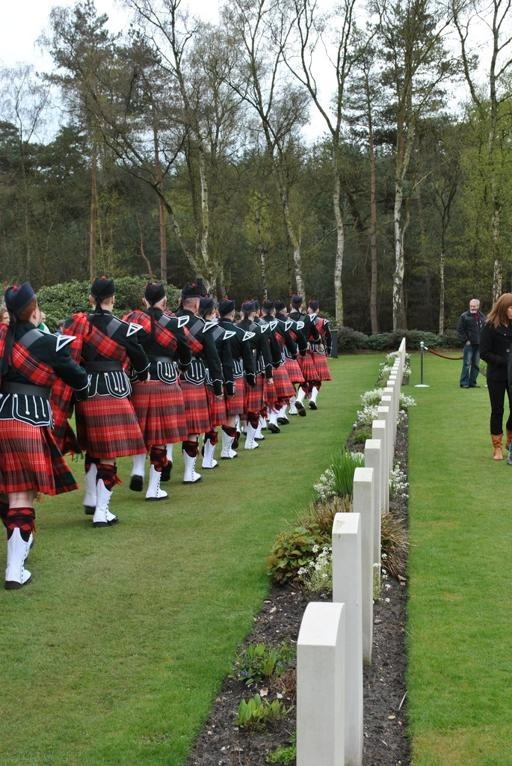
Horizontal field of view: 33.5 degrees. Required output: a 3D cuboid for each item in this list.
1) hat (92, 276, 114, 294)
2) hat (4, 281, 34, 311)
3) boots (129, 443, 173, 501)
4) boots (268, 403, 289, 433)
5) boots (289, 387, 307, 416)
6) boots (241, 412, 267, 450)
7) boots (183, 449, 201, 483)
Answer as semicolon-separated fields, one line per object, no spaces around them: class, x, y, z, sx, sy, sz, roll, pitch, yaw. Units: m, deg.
hat;-1.153;-0.746;6.481;0.119;0.141;0.160;1;16;3
hat;-1.429;-0.522;5.184;0.144;0.086;0.207;-16;26;9
boots;-0.900;0.788;7.306;0.346;0.575;0.455;4;5;20
boots;0.336;0.534;12.326;0.174;0.239;0.526;-3;-16;6
boots;0.679;0.345;14.013;0.191;0.266;0.613;-2;-15;12
boots;0.028;0.605;10.743;0.221;0.437;0.460;4;12;14
boots;-0.625;0.801;8.280;0.165;0.302;0.311;7;15;21
